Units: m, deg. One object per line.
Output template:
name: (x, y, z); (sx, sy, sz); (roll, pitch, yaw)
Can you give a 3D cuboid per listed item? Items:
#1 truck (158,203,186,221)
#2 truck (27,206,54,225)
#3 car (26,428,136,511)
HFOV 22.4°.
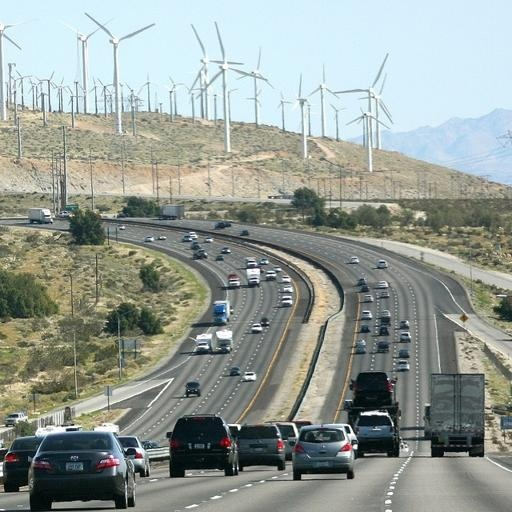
truck: (-13.923, -6.853, 208.836); (3.489, 2.007, 3.477); (1, 0, 36)
truck: (-31.968, -5.752, 187.898); (1.623, 1.942, 4.176); (-4, 4, -32)
car: (-4.937, 6.120, 36.385); (2.908, 2.108, 1.199); (1, 9, -12)
